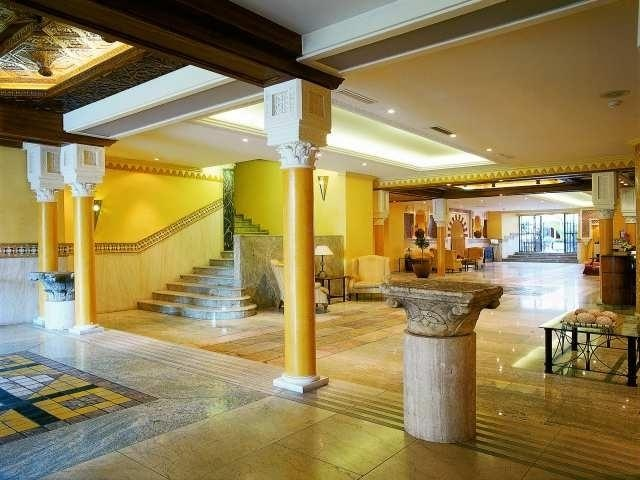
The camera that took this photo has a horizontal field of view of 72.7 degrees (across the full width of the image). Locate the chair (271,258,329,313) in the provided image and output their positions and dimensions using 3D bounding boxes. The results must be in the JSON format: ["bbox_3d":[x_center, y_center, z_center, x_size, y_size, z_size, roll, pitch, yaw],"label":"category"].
[{"bbox_3d":[-0.416,1.051,9.701,1.453,1.370,1.204,-1,-1,-5],"label":"chair"}]

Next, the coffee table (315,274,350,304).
[{"bbox_3d":[0.342,1.275,11.519,0.844,0.711,0.832,-1,1,37],"label":"coffee table"}]

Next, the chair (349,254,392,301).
[{"bbox_3d":[1.255,1.060,12.087,1.323,1.420,1.294,0,-7,10],"label":"chair"}]

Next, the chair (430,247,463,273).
[{"bbox_3d":[5.567,0.964,19.483,1.308,1.288,1.215,-4,5,-38],"label":"chair"}]

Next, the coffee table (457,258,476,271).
[{"bbox_3d":[7.196,1.190,21.531,0.875,0.581,1.227,-1,0,26],"label":"coffee table"}]

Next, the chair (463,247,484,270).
[{"bbox_3d":[7.733,0.930,22.124,1.330,1.407,1.262,-2,-6,29],"label":"chair"}]

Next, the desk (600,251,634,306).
[{"bbox_3d":[7.299,0.996,10.667,0.718,1.171,0.569,1,2,28],"label":"desk"}]

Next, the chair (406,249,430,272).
[{"bbox_3d":[4.469,0.894,19.724,1.180,1.155,1.250,3,-5,-42],"label":"chair"}]
